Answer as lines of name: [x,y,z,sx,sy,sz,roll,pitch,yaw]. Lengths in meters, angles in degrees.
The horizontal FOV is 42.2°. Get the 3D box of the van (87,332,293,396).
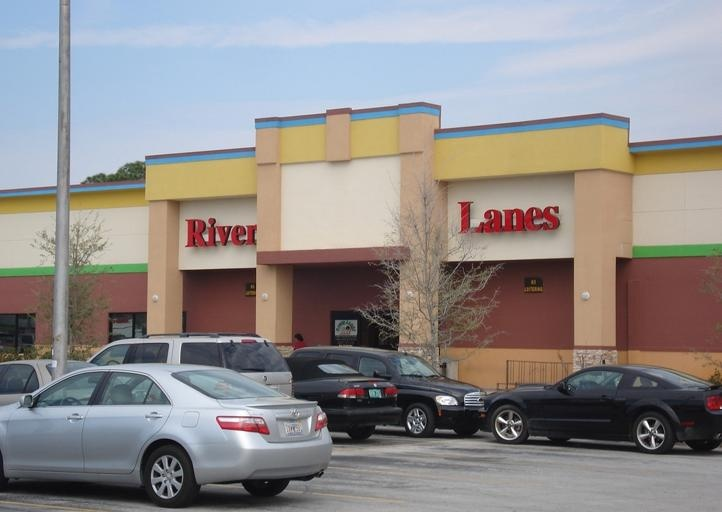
van: [-3.575,2.062,20.132,3.191,1.381,1.801,1,-3,26]

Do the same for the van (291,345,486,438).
van: [0.681,3.466,24.259,4.757,1.825,2.262,-3,-5,33]
